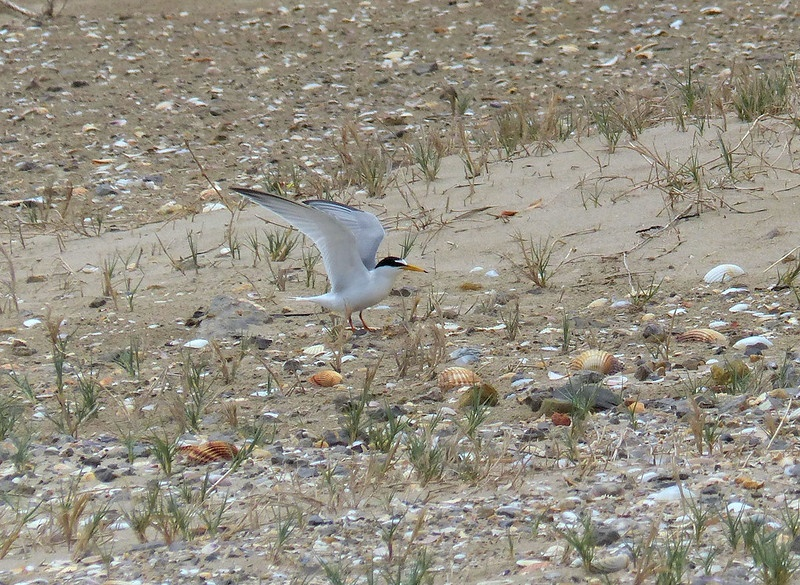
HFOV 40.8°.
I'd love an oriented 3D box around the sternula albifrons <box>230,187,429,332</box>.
[{"bbox_3d":[-0.330,-0.250,6.986,1.300,0.597,1.382,1,2,16],"label":"sternula albifrons"}]
